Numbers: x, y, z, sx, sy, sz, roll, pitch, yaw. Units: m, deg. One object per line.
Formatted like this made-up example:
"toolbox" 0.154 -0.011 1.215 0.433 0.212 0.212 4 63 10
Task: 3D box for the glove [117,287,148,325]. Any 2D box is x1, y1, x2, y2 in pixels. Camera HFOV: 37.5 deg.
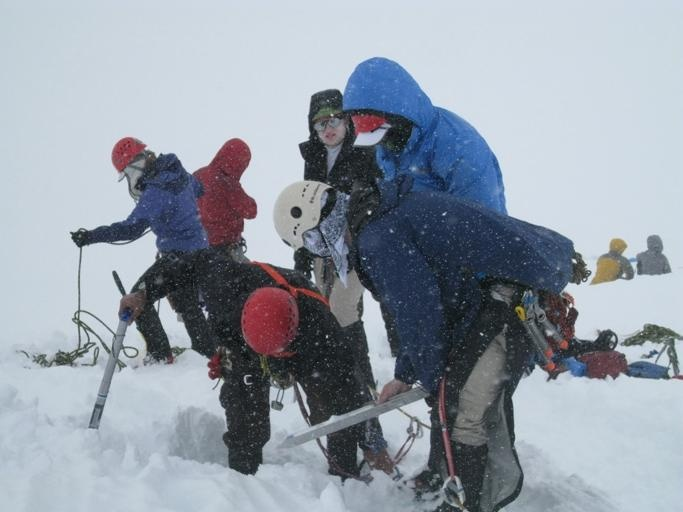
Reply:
"glove" -2.134 0.506 10.381 0.256 0.353 0.095 -13 22 -4

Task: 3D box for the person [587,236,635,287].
"person" 3.946 0.085 14.797 0.620 0.830 0.651 -6 8 -40

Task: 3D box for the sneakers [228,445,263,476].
"sneakers" -0.903 1.912 9.526 0.304 0.242 0.264 2 0 -6
